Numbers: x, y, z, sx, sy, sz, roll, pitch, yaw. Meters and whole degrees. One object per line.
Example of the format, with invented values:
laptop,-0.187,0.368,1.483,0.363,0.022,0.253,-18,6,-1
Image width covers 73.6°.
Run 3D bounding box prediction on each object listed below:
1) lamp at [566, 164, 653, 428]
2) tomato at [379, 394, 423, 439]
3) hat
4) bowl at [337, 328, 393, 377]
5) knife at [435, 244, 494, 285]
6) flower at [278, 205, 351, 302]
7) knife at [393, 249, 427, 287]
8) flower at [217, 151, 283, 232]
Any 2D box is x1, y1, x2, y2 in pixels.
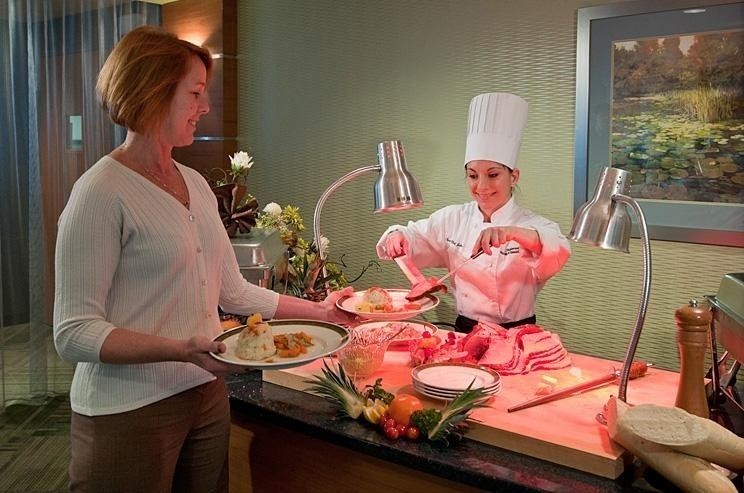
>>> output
lamp,0.829,0.141,1.753,0.271,0.836,0.251,3,12,10
tomato,0.106,0.571,1.702,0.139,0.122,0.136,-9,0,22
hat,0.765,-0.700,3.094,0.393,0.385,0.407,10,-2,8
bowl,-0.024,0.410,1.988,0.216,0.134,0.196,0,-2,-9
knife,0.572,0.097,3.005,0.051,0.402,0.028,43,14,-31
flower,-0.342,0.050,3.140,0.587,0.599,0.643,2,-4,-24
knife,0.216,0.128,2.791,0.090,0.062,0.299,-31,29,1
flower,-0.659,-0.279,2.465,0.274,0.328,0.252,8,-4,-8
